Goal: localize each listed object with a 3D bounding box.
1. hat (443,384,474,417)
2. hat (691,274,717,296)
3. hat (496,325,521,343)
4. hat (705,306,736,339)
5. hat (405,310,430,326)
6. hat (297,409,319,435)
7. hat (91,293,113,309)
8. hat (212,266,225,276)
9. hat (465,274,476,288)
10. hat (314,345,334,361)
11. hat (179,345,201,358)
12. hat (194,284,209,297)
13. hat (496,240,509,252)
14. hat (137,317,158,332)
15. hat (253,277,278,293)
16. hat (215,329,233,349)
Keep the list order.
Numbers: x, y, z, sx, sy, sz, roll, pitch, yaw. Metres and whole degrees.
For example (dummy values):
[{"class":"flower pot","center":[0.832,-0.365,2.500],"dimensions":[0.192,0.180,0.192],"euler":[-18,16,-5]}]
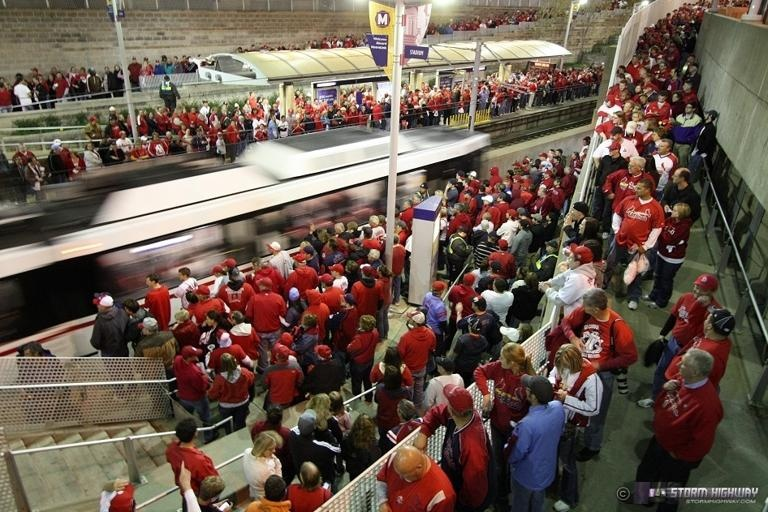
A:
[{"class":"hat","center":[0.918,1.790,5.887],"dimensions":[0.278,0.236,0.424],"euler":[-22,50,-19]},{"class":"hat","center":[4.891,0.430,7.041],"dimensions":[0.358,0.202,0.248],"euler":[-4,17,-35]},{"class":"hat","center":[2.108,1.344,7.859],"dimensions":[0.325,0.145,0.334],"euler":[0,24,-3]},{"class":"hat","center":[4.673,0.866,6.495],"dimensions":[0.296,0.264,0.437],"euler":[11,61,4]},{"class":"hat","center":[0.566,1.097,8.354],"dimensions":[0.359,0.188,0.252],"euler":[31,43,19]},{"class":"hat","center":[-1.059,2.328,6.559],"dimensions":[0.230,0.126,0.353],"euler":[6,43,-3]},{"class":"hat","center":[-5.548,0.877,9.203],"dimensions":[0.260,0.304,0.450],"euler":[-32,-14,16]},{"class":"hat","center":[-3.688,0.280,10.400],"dimensions":[0.190,0.143,0.272],"euler":[3,33,-37]},{"class":"hat","center":[1.732,0.479,9.379],"dimensions":[0.197,0.263,0.270],"euler":[9,68,8]},{"class":"hat","center":[-1.012,1.625,7.942],"dimensions":[0.228,0.311,0.214],"euler":[-2,18,1]},{"class":"hat","center":[-3.339,1.712,8.233],"dimensions":[0.415,0.154,0.290],"euler":[5,34,-33]},{"class":"hat","center":[-3.726,0.728,9.633],"dimensions":[0.230,0.270,0.292],"euler":[-10,19,-21]},{"class":"hat","center":[2.746,-0.244,10.777],"dimensions":[0.204,0.275,0.282],"euler":[5,52,9]},{"class":"hat","center":[-4.379,1.242,8.694],"dimensions":[0.360,0.205,0.234],"euler":[18,22,28]},{"class":"hat","center":[-2.435,0.576,9.539],"dimensions":[0.317,0.295,0.223],"euler":[-3,18,-1]},{"class":"hat","center":[-2.786,1.437,8.174],"dimensions":[0.181,0.304,0.371],"euler":[-10,20,-23]}]
